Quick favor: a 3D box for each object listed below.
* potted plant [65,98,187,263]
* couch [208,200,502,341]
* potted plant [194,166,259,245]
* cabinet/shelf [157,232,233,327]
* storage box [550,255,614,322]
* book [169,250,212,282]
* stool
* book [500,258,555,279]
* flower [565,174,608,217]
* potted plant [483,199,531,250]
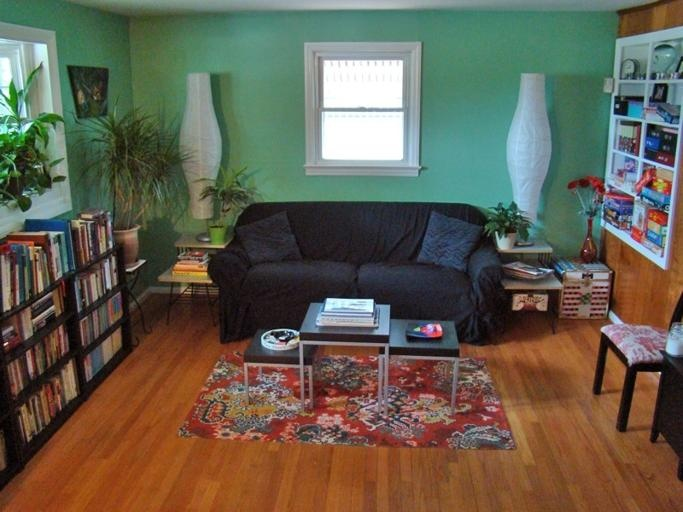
[{"bbox_3d":[-1.988,-0.659,5.095,0.881,1.181,0.867,-6,19,-34],"label":"potted plant"},{"bbox_3d":[0.151,0.133,5.097,2.741,1.147,0.957,1,18,4],"label":"couch"},{"bbox_3d":[-1.215,-0.504,5.331,0.528,0.734,0.540,21,14,39],"label":"potted plant"},{"bbox_3d":[-1.425,0.194,5.300,0.588,0.664,0.890,3,17,-2],"label":"cabinet/shelf"},{"bbox_3d":[2.377,0.336,5.213,0.466,0.553,0.790,1,14,13],"label":"storage box"},{"bbox_3d":[-1.467,0.110,5.019,0.330,0.156,0.338,1,17,0],"label":"book"},{"bbox_3d":[2.084,0.720,3.676,0.555,0.404,0.584,-6,-6,28],"label":"stool"},{"bbox_3d":[1.799,0.133,5.008,0.371,0.133,0.456,11,20,39],"label":"book"},{"bbox_3d":[2.446,-0.585,5.140,0.327,0.355,0.351,-4,9,13],"label":"flower"},{"bbox_3d":[1.658,-0.285,5.028,0.426,0.322,0.427,-15,-8,-46],"label":"potted plant"}]
